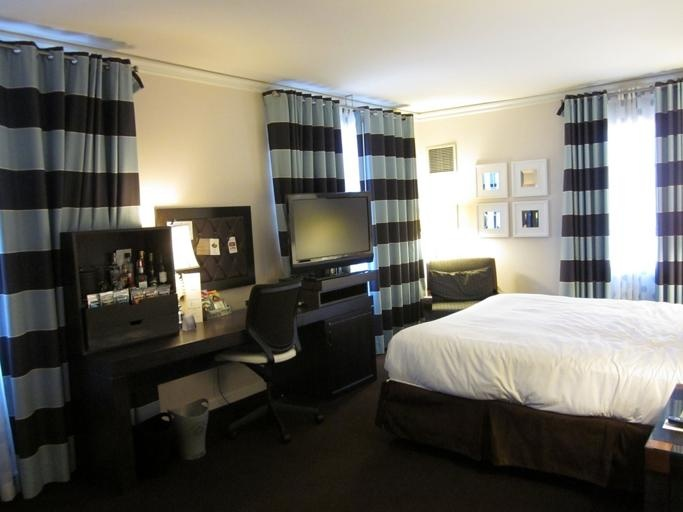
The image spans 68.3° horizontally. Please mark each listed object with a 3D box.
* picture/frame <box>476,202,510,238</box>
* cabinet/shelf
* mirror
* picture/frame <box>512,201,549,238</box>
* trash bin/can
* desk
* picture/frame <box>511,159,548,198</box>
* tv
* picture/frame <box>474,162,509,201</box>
[{"bbox_3d":[1.922,-0.469,6.416,0.369,0.462,0.031,0,-13,14],"label":"picture/frame"},{"bbox_3d":[-1.634,0.290,3.666,0.381,1.082,0.821,-9,-3,39],"label":"cabinet/shelf"},{"bbox_3d":[-1.197,-0.076,4.310,0.055,0.681,0.728,-3,-1,36],"label":"mirror"},{"bbox_3d":[2.314,-0.466,6.164,0.409,0.493,0.043,-1,-19,20],"label":"picture/frame"},{"bbox_3d":[-1.102,1.324,4.010,0.330,0.504,0.401,-11,-4,31],"label":"trash bin/can"},{"bbox_3d":[-0.974,0.838,3.959,2.017,1.216,0.668,-11,10,-37],"label":"desk"},{"bbox_3d":[2.300,-0.963,6.106,0.419,0.527,0.070,3,7,36],"label":"picture/frame"},{"bbox_3d":[-0.136,-0.216,4.833,0.751,0.573,0.078,-12,14,-43],"label":"tv"},{"bbox_3d":[1.890,-0.959,6.362,0.404,0.475,0.020,-3,-18,15],"label":"picture/frame"}]
